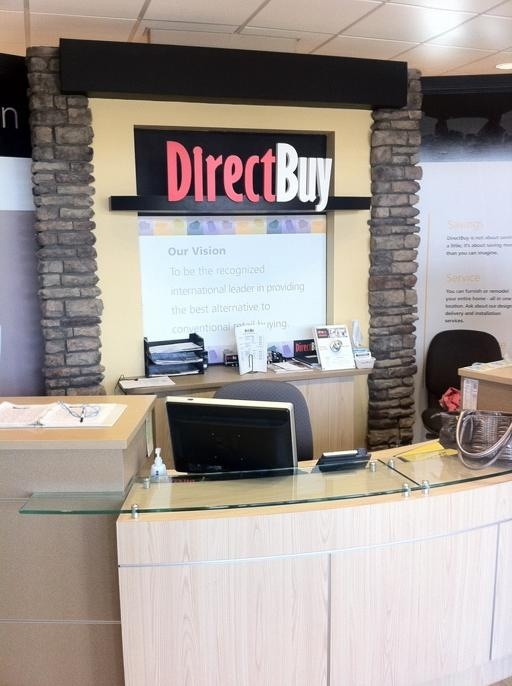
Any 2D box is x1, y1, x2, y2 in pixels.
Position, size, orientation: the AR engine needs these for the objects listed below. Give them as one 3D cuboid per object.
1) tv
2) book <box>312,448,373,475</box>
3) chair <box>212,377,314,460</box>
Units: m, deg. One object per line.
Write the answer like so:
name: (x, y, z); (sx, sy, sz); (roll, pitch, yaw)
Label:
tv: (-0.079, 0.289, 1.993); (0.374, 0.252, 0.039); (3, 24, 9)
book: (0.273, 0.374, 2.087); (0.200, 0.060, 0.095); (-4, 7, -19)
chair: (-0.026, 0.385, 2.885); (0.395, 0.346, 0.345); (4, -1, -19)
